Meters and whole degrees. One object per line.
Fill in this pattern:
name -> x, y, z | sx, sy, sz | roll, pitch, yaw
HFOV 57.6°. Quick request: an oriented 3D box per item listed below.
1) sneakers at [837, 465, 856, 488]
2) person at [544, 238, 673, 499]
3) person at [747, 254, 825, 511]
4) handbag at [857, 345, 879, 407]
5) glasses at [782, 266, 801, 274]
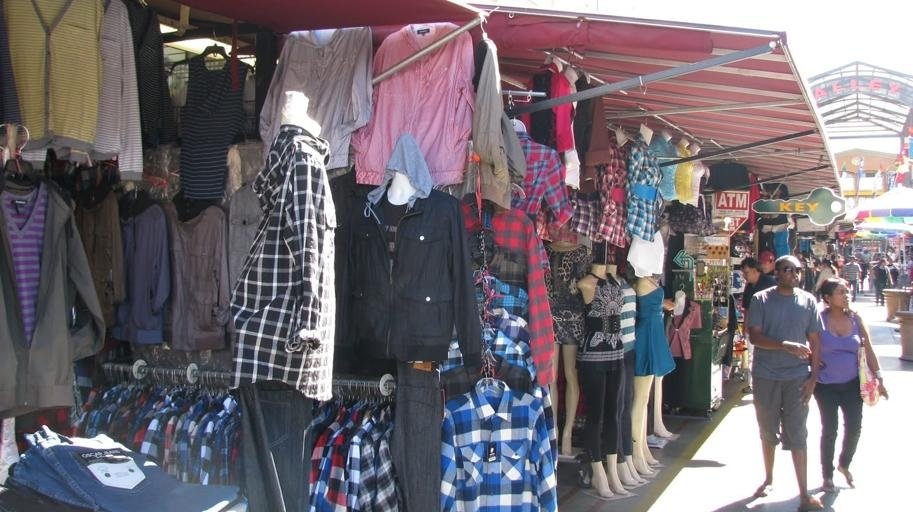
sneakers -> 4.782, 2.697, 10.164 | 0.110, 0.356, 0.159 | -22, 1, 15
person -> 1.990, 1.363, 10.147 | 1.184, 3.015, 0.406 | 3, -3, -39
person -> 3.805, 1.467, 9.612 | 0.786, 2.895, 0.678 | -1, -3, 24
handbag -> 4.879, 1.429, 9.873 | 0.347, 0.714, 0.143 | 1, -3, -21
glasses -> 3.821, 0.155, 9.505 | 0.113, 0.037, 0.112 | 3, -23, -14
